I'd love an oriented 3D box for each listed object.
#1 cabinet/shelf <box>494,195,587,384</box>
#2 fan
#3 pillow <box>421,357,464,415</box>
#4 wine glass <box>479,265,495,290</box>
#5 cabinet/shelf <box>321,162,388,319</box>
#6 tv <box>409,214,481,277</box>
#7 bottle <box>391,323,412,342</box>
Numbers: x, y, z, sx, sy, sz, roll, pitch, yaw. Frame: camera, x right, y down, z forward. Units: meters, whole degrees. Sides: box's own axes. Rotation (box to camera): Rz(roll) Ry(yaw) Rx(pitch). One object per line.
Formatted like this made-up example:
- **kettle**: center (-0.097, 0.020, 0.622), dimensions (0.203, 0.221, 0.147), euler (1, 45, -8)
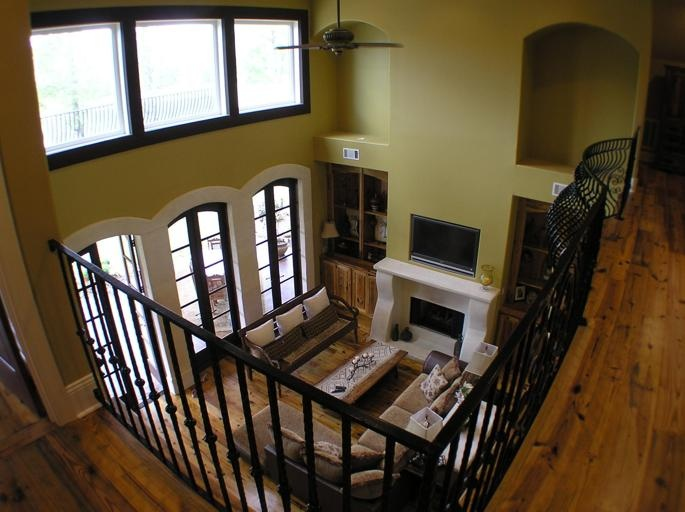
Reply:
- **cabinet/shelf**: center (3.213, 0.290, 9.062), dimensions (0.930, 2.748, 0.522), euler (-12, 23, -31)
- **fan**: center (-0.092, -3.827, 8.596), dimensions (1.591, 0.919, 1.585), euler (-11, 18, -40)
- **pillow**: center (1.494, 1.892, 7.622), dimensions (0.156, 0.557, 0.562), euler (25, 53, 4)
- **wine glass**: center (2.527, 0.361, 8.938), dimensions (0.255, 0.455, 0.182), euler (-1, 20, -3)
- **cabinet/shelf**: center (0.257, -0.344, 10.788), dimensions (1.426, 3.119, 0.656), euler (13, 23, 32)
- **tv**: center (1.910, -0.214, 9.333), dimensions (0.957, 0.738, 0.102), euler (24, 39, 27)
- **bottle**: center (1.185, 1.491, 10.349), dimensions (0.415, 0.401, 0.266), euler (-12, 32, -21)
